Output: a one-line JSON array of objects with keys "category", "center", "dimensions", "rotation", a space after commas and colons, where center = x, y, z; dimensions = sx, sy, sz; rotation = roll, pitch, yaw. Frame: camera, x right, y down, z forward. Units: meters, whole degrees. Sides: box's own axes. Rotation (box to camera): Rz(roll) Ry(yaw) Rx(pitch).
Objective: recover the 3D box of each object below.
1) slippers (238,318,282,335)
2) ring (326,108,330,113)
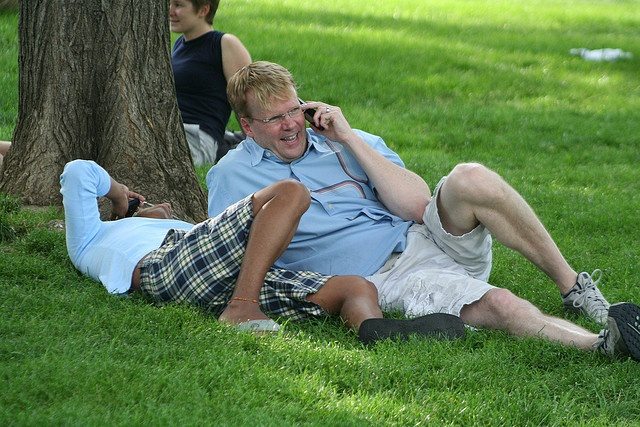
[{"category": "slippers", "center": [-0.453, 0.829, 5.021], "dimensions": [0.274, 0.073, 0.115], "rotation": [2, 45, -2]}, {"category": "ring", "center": [0.068, -0.916, 6.111], "dimensions": [0.041, 0.039, 0.010], "rotation": [1, -12, -11]}]
